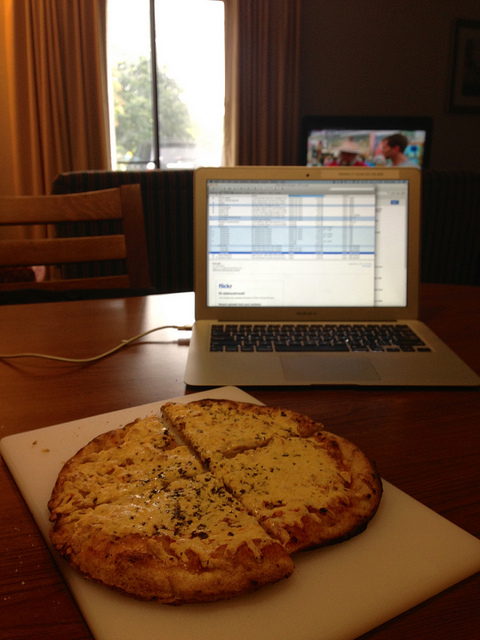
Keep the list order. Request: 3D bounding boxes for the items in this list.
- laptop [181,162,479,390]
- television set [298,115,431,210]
[{"bbox_3d":[0.098,-0.039,0.703,0.372,0.286,0.306,-1,18,-2],"label":"laptop"},{"bbox_3d":[0.867,-0.913,3.604,0.963,0.736,0.660,3,-18,2],"label":"television set"}]
